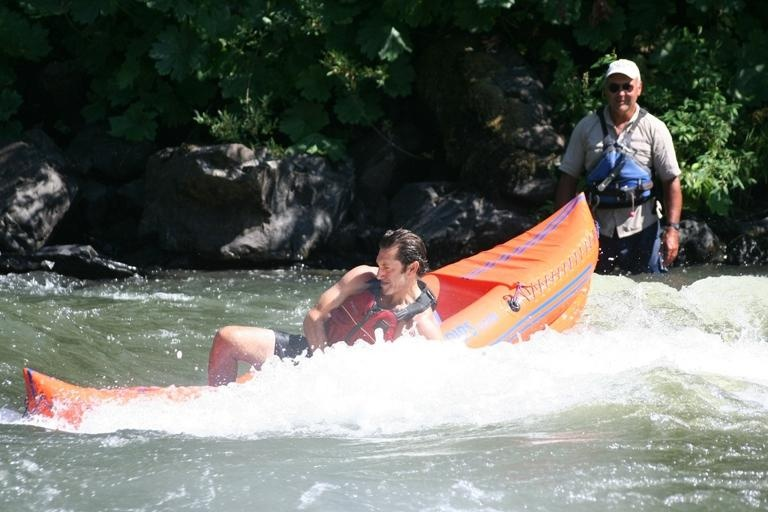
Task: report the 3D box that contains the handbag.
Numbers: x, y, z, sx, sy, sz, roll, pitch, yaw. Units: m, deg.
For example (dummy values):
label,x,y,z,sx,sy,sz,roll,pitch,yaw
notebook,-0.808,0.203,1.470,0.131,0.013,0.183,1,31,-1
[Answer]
label,x,y,z,sx,sy,sz,roll,pitch,yaw
handbag,2.521,-0.840,12.400,0.564,0.683,0.751,-2,-3,-34

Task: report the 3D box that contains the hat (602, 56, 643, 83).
label,x,y,z,sx,sy,sz,roll,pitch,yaw
hat,2.630,-2.060,12.167,0.317,0.210,0.305,5,11,22

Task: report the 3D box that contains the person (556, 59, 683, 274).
label,x,y,z,sx,sy,sz,roll,pitch,yaw
person,2.662,-0.466,12.539,1.351,3.365,0.885,2,20,14
